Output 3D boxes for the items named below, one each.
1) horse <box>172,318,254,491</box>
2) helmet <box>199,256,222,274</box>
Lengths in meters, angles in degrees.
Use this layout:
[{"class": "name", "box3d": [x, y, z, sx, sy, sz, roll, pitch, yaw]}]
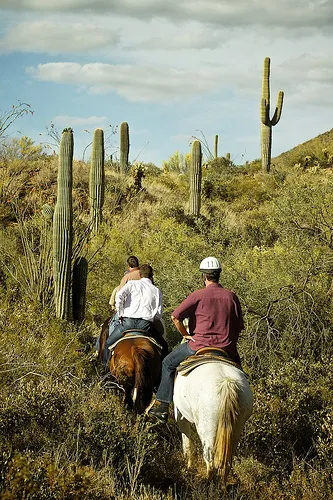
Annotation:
[{"class": "horse", "box3d": [0.420, 1.444, 4.284, 0.445, 0.973, 0.790, -2, 6, -23]}, {"class": "helmet", "box3d": [0.437, 0.153, 4.765, 0.127, 0.180, 0.188, 1, -9, -14]}]
